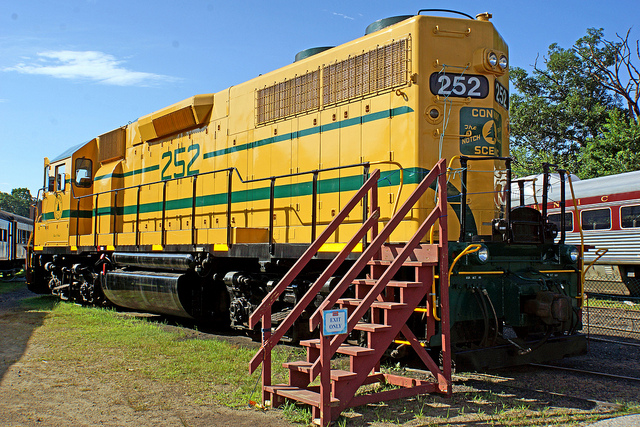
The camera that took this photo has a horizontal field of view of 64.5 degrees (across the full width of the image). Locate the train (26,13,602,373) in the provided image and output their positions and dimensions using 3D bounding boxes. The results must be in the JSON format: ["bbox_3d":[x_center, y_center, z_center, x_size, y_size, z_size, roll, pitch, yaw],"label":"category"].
[{"bbox_3d":[-2.885,-0.800,15.829,6.629,7.343,19.601,2,-3,-43],"label":"train"}]
